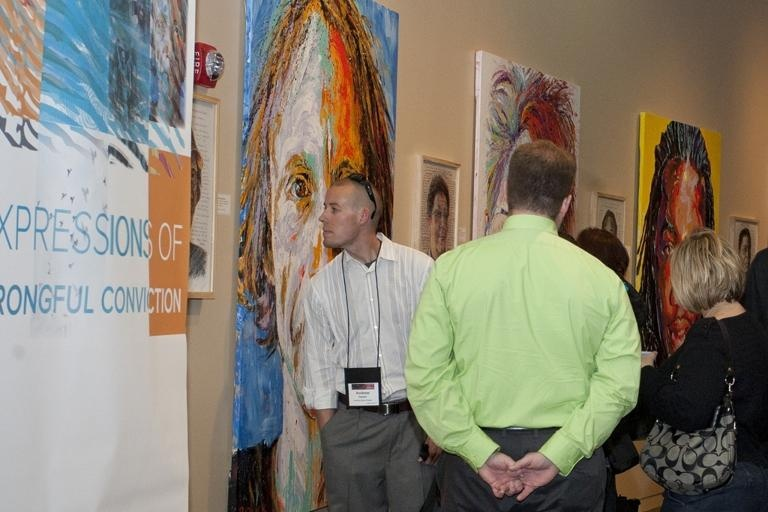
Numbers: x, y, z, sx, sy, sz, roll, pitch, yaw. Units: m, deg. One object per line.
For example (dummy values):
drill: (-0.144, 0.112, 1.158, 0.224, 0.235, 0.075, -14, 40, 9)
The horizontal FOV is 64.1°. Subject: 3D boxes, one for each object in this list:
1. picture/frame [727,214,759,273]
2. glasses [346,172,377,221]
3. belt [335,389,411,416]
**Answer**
picture/frame: (3.902, -0.149, 6.685, 0.049, 0.720, 0.645, -4, -6, 44)
glasses: (-0.138, -0.386, 3.996, 0.069, 0.283, 0.210, -5, 11, -40)
belt: (-0.065, 0.930, 3.877, 0.461, 0.130, 0.087, -1, -4, 2)
